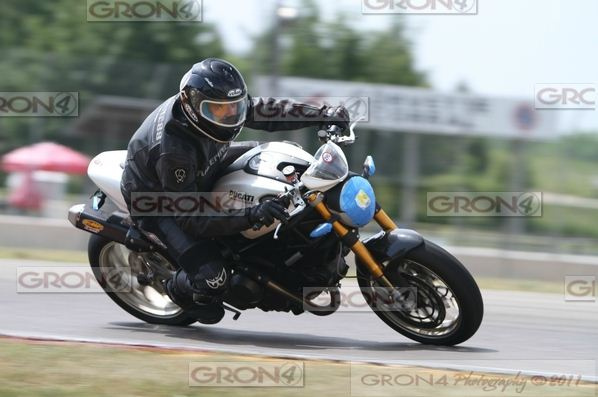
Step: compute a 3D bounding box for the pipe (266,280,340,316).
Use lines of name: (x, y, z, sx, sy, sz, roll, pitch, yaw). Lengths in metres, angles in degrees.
pipe: (0.062, 1.058, 8.342, 0.604, 0.382, 0.091, 23, 76, -3)
